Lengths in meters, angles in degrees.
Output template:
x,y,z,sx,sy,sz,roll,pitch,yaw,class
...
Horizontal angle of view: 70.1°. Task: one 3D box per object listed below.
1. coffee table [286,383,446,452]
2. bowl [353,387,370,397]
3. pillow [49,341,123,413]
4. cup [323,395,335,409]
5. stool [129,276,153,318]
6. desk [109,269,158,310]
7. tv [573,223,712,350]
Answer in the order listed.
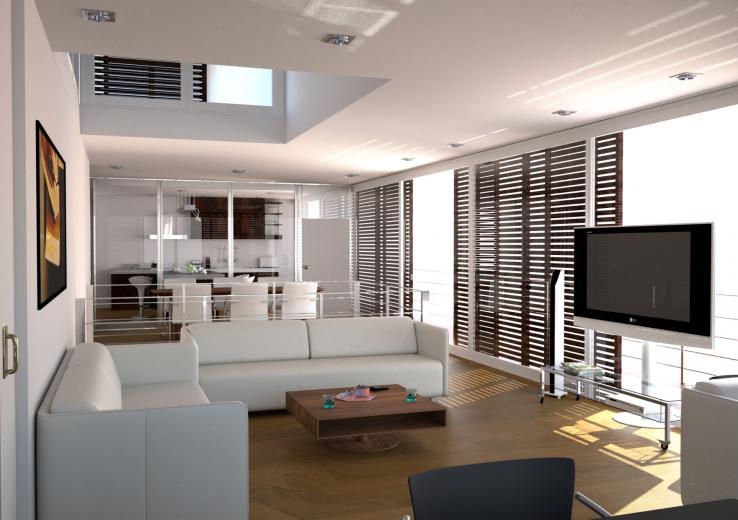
x,y,z,sx,sy,sz,roll,pitch,yaw,class
-0.061,1.336,4.520,1.198,0.451,0.821,0,5,-14,coffee table
-0.045,1.136,4.598,0.107,0.053,0.101,0,-3,0,bowl
-2.004,0.878,3.708,0.418,0.282,1.286,13,2,-25,pillow
-0.333,1.167,4.329,0.092,0.104,0.084,0,-5,0,cup
-4.155,0.689,9.605,0.476,0.760,0.500,-11,-9,33,stool
-4.214,0.515,9.444,0.831,0.668,0.344,-1,-3,-20,desk
2.575,0.178,4.940,0.215,1.059,1.611,0,1,-18,tv
